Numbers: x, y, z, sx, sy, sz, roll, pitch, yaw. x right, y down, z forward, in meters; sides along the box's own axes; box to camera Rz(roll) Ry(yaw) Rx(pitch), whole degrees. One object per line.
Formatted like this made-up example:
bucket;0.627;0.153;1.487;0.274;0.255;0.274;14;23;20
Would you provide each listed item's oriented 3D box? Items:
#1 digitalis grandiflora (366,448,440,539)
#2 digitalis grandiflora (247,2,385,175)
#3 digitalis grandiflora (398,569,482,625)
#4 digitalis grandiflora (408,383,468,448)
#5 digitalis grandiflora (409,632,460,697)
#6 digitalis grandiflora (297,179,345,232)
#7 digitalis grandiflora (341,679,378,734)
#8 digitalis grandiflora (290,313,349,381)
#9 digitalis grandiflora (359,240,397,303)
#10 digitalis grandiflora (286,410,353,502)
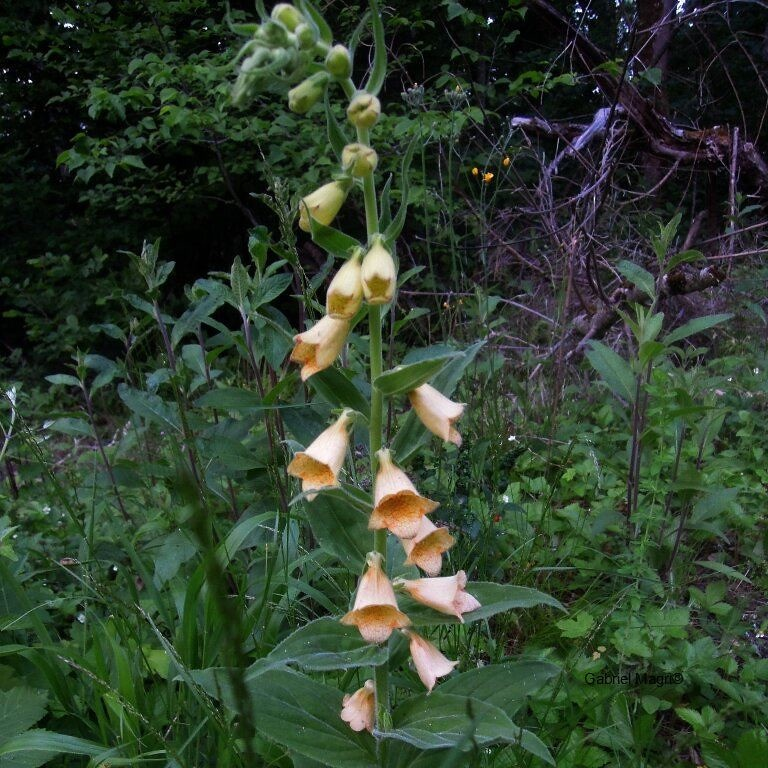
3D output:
digitalis grandiflora;0.043;0.252;1.580;0.159;0.181;0.080;-18;-16;0
digitalis grandiflora;-0.157;-0.697;1.648;0.308;0.375;0.486;7;26;2
digitalis grandiflora;0.140;0.511;1.702;0.210;0.094;0.108;6;48;18
digitalis grandiflora;0.145;0.069;1.734;0.150;0.141;0.150;17;29;22
digitalis grandiflora;0.111;0.705;1.763;0.094;0.150;0.168;-1;27;-13
digitalis grandiflora;-0.155;-0.449;1.765;0.114;0.145;0.188;2;26;-8
digitalis grandiflora;-0.061;0.826;1.782;0.086;0.147;0.100;6;27;0
digitalis grandiflora;-0.156;-0.083;1.732;0.137;0.204;0.126;4;28;-4
digitalis grandiflora;-0.009;-0.276;1.649;0.081;0.169;0.074;-6;-10;17
digitalis grandiflora;-0.123;0.186;1.729;0.155;0.211;0.084;25;-4;37
